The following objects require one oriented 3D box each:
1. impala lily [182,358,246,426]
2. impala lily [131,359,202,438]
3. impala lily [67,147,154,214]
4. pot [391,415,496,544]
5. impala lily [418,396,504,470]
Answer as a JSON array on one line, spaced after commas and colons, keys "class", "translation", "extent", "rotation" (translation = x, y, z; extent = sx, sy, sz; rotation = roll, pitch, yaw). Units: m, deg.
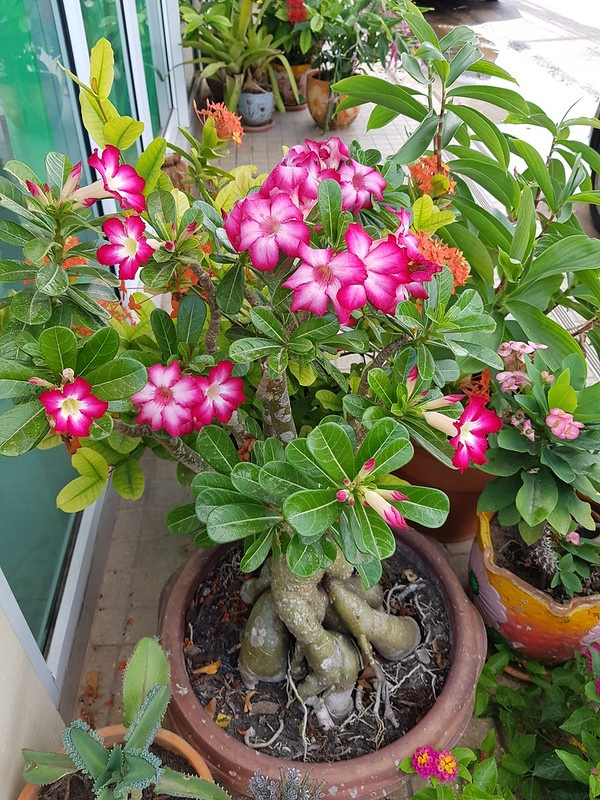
[{"class": "impala lily", "translation": [-0.133, -0.005, 0.902], "extent": [0.098, 0.109, 0.037], "rotation": [21, 34, -27]}, {"class": "impala lily", "translation": [-0.183, 0.003, 0.848], "extent": [0.056, 0.097, 0.083], "rotation": [31, 48, 34]}, {"class": "impala lily", "translation": [-0.221, -0.264, 0.757], "extent": [0.094, 0.084, 0.088], "rotation": [-17, 2, -11]}, {"class": "pot", "translation": [0.380, 0.206, 1.891], "extent": [0.354, 0.381, 0.352], "rotation": [-3, 45, 3]}, {"class": "impala lily", "translation": [0.210, 0.038, 0.875], "extent": [0.084, 0.092, 0.116], "rotation": [-36, 32, -27]}]
